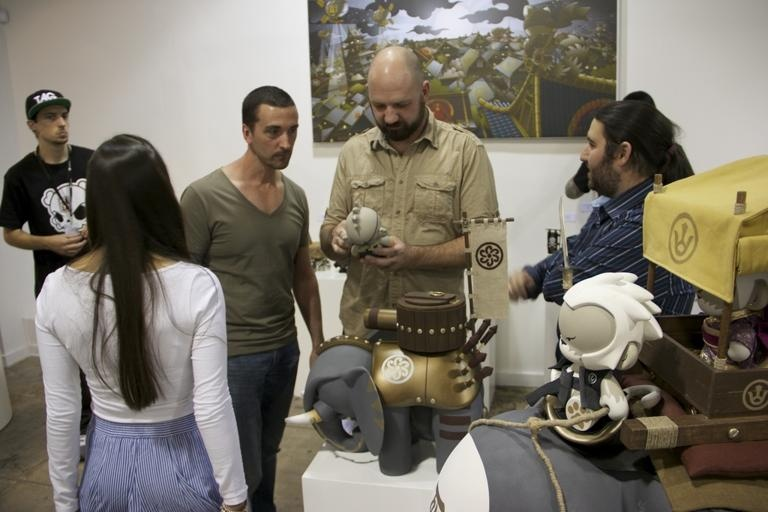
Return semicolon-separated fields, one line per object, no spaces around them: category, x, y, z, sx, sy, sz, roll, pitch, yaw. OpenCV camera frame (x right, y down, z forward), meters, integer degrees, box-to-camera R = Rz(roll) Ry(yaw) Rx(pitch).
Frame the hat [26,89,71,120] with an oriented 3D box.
hat;-2.026;-0.906;3.268;0.233;0.185;0.253;-6;10;-23

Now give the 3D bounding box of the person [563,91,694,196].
person;1.193;-0.554;2.582;0.418;0.400;0.826;-9;10;27
